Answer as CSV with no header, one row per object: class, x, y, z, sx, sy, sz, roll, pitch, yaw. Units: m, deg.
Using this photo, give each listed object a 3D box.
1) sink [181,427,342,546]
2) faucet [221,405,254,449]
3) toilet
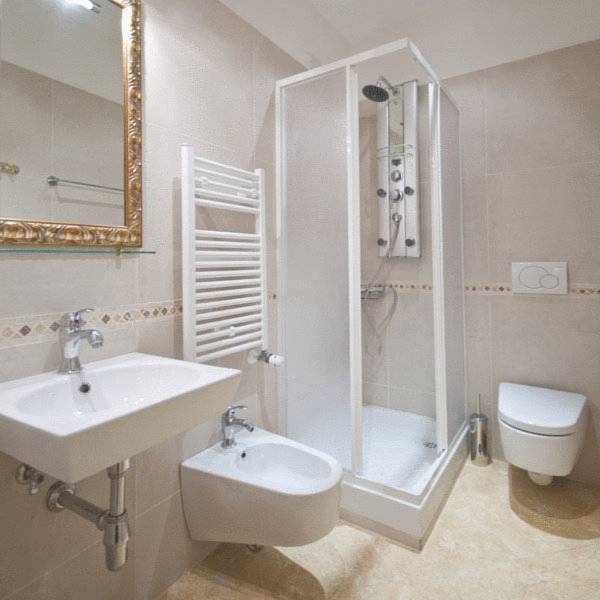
sink,-0.112,0.770,2.034,0.565,0.338,0.458,5,11,17
faucet,-0.265,0.525,2.068,0.164,0.185,0.077,3,8,32
toilet,1.156,0.633,2.460,0.416,0.286,0.464,6,13,32
